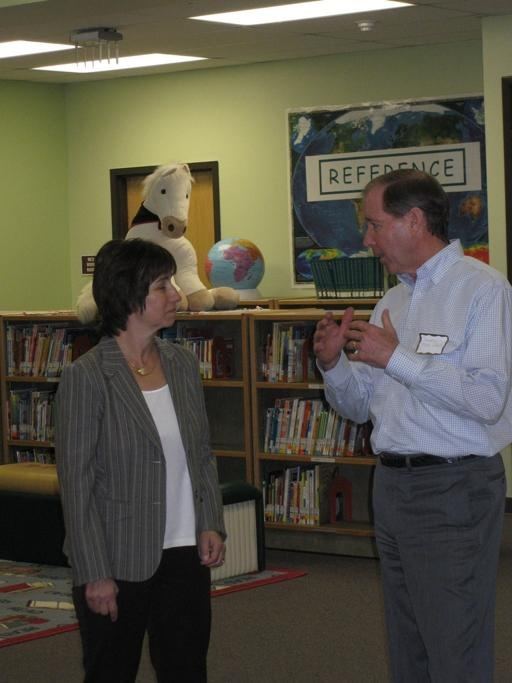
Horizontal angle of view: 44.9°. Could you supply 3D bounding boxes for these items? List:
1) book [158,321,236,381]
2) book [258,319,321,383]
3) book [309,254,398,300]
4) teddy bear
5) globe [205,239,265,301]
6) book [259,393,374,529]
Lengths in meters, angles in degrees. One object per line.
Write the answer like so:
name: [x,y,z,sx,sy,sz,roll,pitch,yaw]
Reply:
book: [-0.368,0.019,4.368,0.581,0.392,0.324,8,11,32]
book: [0.243,0.081,4.089,0.508,0.426,0.378,0,0,10]
book: [0.696,-0.470,4.593,0.659,0.280,0.347,3,7,25]
teddy bear: [-0.866,-0.858,5.023,1.301,1.235,1.202,-10,17,-42]
globe: [-0.209,-0.632,5.447,0.532,0.511,0.301,-3,12,-27]
book: [0.426,0.745,4.065,0.792,0.741,0.341,7,10,30]
